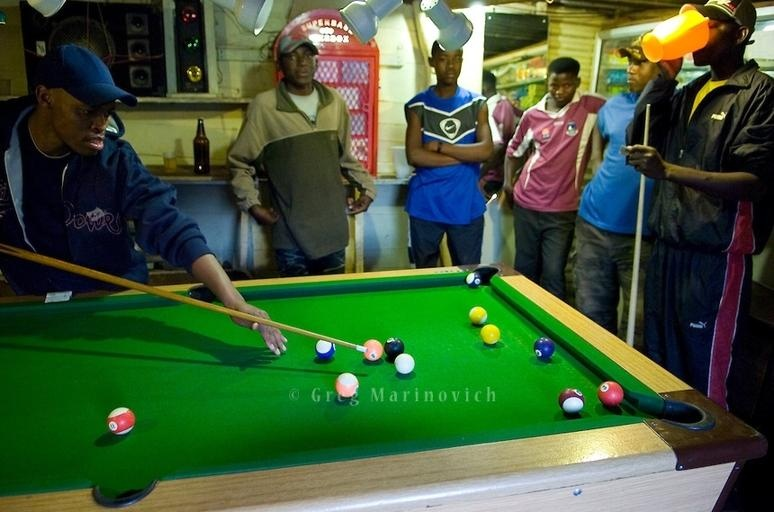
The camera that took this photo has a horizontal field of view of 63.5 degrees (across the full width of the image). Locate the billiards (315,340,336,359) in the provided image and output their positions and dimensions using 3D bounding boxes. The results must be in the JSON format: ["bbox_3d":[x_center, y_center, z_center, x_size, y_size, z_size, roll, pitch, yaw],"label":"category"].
[{"bbox_3d":[-0.250,0.379,2.564,0.080,0.069,0.078,1,45,-14],"label":"billiards"}]

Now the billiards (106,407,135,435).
[{"bbox_3d":[-0.907,0.561,2.134,0.092,0.060,0.087,-3,5,-6],"label":"billiards"}]

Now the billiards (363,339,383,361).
[{"bbox_3d":[-0.056,0.382,2.564,0.082,0.085,0.078,0,5,-16],"label":"billiards"}]

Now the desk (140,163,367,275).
[{"bbox_3d":[-0.854,-0.267,4.053,0.857,0.740,0.269,-6,25,-4],"label":"desk"}]

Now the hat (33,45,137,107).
[{"bbox_3d":[-1.320,-0.816,2.762,0.460,0.213,0.281,19,24,24],"label":"hat"}]

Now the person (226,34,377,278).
[{"bbox_3d":[-0.557,-0.429,4.295,1.033,2.029,0.596,-11,27,-23],"label":"person"}]

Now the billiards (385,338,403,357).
[{"bbox_3d":[0.028,0.365,2.513,0.074,0.068,0.071,-4,-1,-30],"label":"billiards"}]

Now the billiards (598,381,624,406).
[{"bbox_3d":[0.820,0.503,2.344,0.087,0.086,0.088,30,-1,15],"label":"billiards"}]

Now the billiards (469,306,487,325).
[{"bbox_3d":[0.398,0.263,2.782,0.078,0.081,0.074,18,48,14],"label":"billiards"}]

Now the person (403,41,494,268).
[{"bbox_3d":[0.421,-0.670,4.315,0.581,1.519,0.357,-1,19,1],"label":"person"}]

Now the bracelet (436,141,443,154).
[{"bbox_3d":[0.358,-0.729,4.222,0.035,0.073,0.029,0,19,3],"label":"bracelet"}]

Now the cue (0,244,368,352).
[{"bbox_3d":[-0.952,0.198,2.864,1.329,0.090,0.032,18,62,-7],"label":"cue"}]

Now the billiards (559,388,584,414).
[{"bbox_3d":[0.674,0.519,2.313,0.091,0.098,0.090,12,13,17],"label":"billiards"}]
